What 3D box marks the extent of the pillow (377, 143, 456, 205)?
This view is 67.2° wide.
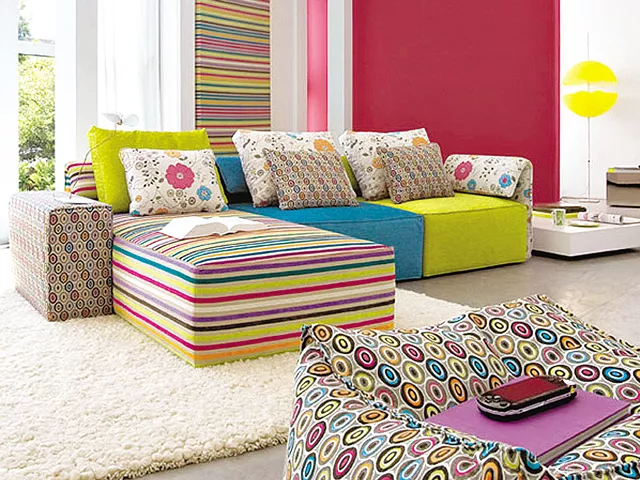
[{"bbox_3d":[0.816,-0.572,4.200,0.683,0.530,0.208,-9,-14,-37],"label":"pillow"}]

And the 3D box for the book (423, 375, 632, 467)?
[{"bbox_3d":[0.414,0.324,0.867,0.178,0.018,0.187,-10,10,-34],"label":"book"}]
